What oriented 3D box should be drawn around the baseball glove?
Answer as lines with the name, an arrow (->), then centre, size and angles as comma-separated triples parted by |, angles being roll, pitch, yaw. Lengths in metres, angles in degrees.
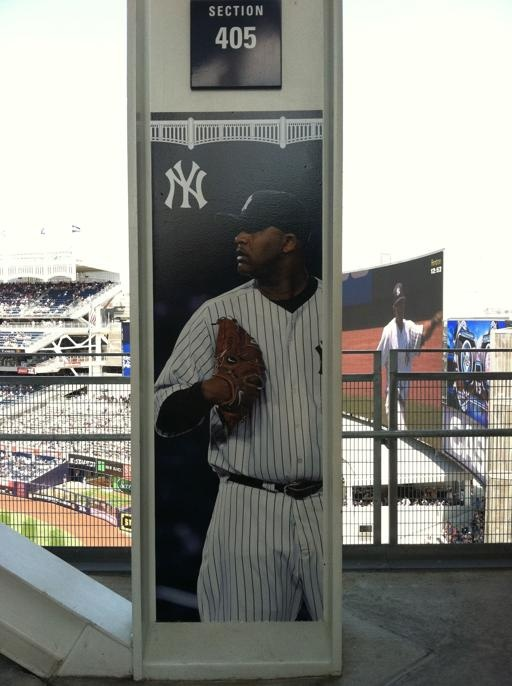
baseball glove -> -0.098, 0.150, 4.816 | 0.249, 0.497, 0.167 | 18, 1, -7

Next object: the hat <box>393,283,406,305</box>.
hat -> 1.988, -0.676, 14.743 | 0.161, 0.297, 0.229 | 3, 46, -5
